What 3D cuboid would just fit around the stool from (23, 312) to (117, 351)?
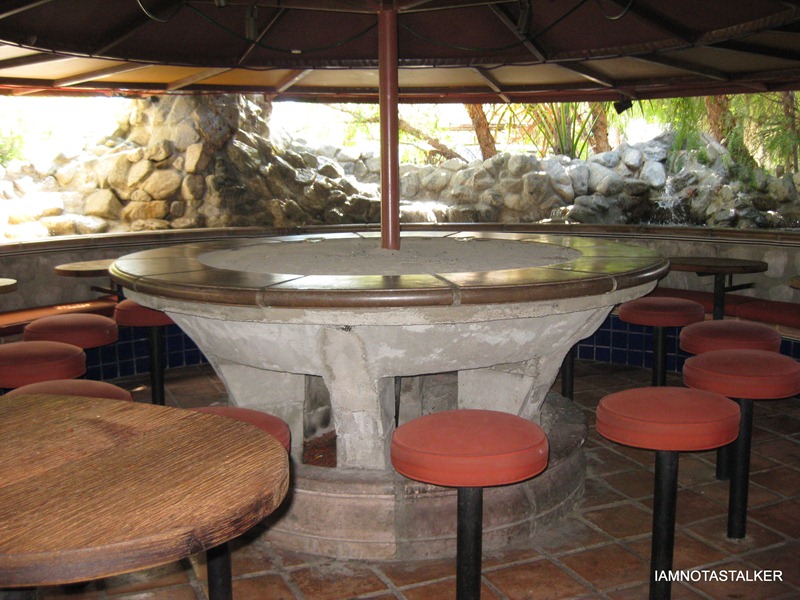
[{"bbox_3d":[-2.043,0.186,3.994,0.384,0.102,0.314,1,7,-4],"label":"stool"}]
